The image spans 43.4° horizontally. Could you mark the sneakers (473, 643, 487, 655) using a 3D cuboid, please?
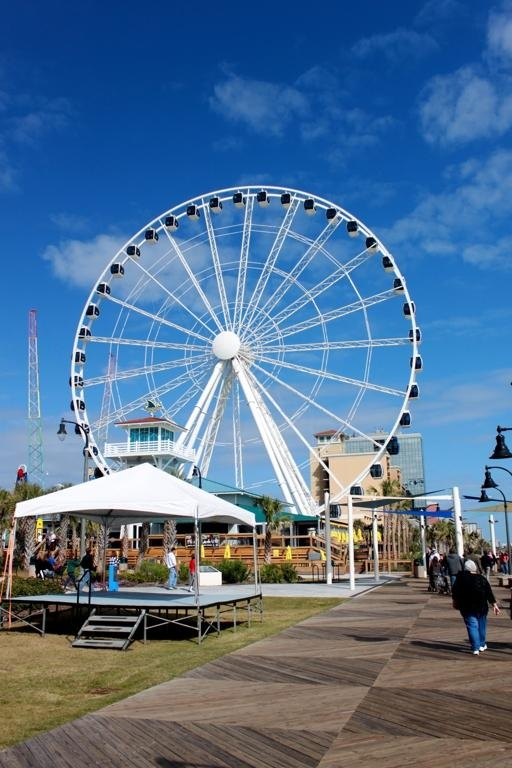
[{"bbox_3d":[3.650,4.396,10.578,0.163,0.220,0.525,-15,-30,22],"label":"sneakers"}]
